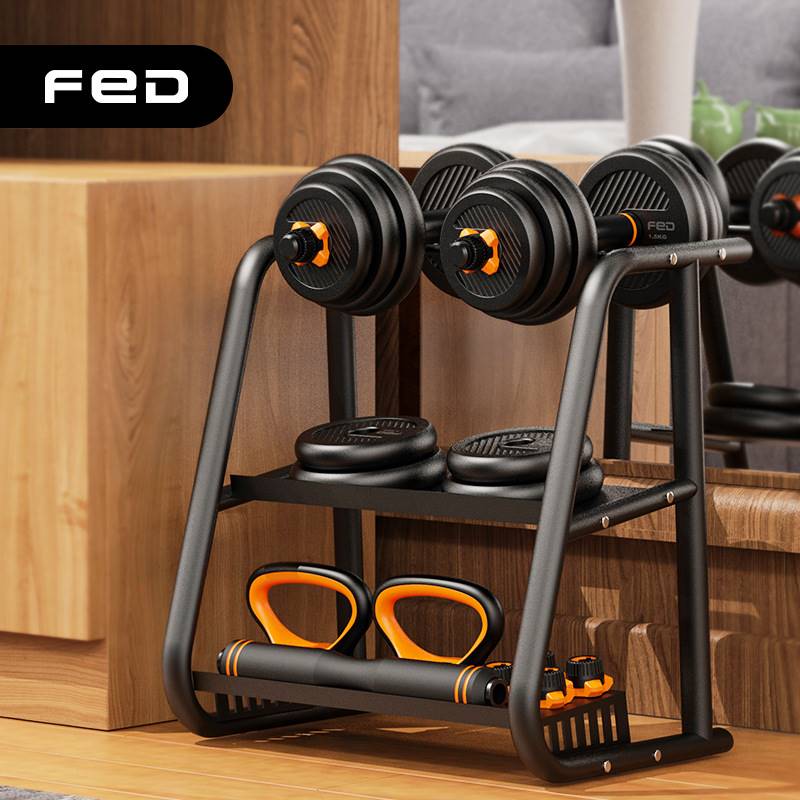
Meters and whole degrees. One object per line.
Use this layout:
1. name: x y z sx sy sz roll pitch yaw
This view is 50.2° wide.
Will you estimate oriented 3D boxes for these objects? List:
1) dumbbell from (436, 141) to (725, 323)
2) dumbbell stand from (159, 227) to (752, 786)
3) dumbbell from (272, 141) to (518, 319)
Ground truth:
1. dumbbell: 0.194 -0.165 0.854 0.335 0.142 0.299 -4 11 21
2. dumbbell stand: -0.004 0.127 1.063 0.614 0.664 0.578 3 5 35
3. dumbbell: -0.026 -0.150 0.886 0.244 0.111 0.247 8 19 41
